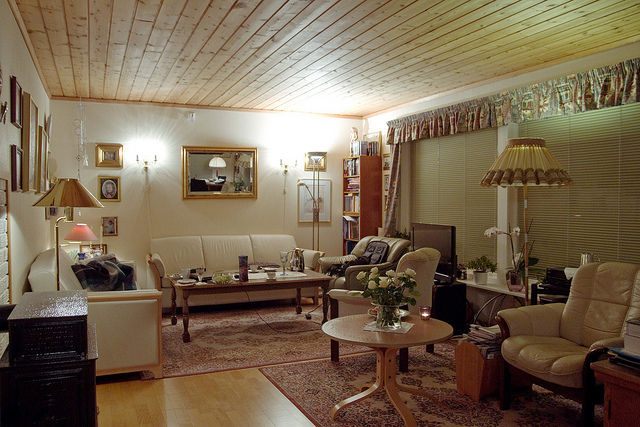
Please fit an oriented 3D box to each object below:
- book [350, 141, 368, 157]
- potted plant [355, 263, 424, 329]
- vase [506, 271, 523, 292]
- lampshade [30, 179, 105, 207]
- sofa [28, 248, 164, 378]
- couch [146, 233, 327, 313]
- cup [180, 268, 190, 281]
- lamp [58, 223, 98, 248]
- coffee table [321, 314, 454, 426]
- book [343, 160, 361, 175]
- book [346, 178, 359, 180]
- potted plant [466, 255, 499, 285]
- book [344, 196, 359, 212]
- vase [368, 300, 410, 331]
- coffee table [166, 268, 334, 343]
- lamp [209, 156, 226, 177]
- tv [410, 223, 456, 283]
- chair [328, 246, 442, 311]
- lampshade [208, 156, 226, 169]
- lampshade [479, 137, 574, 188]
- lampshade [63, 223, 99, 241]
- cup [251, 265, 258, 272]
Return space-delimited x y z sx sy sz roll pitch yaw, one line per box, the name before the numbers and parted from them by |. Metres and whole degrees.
book | 0.727 -1.193 7.917 0.216 0.344 0.387 0 -1 -25
potted plant | 0.675 0.794 3.997 0.623 0.528 0.615 -2 -1 -18
vase | 2.362 0.836 5.221 0.221 0.271 0.214 3 -6 -22
lampshade | -2.389 -0.194 4.069 0.680 0.243 0.661 2 2 6
sofa | -2.342 0.563 4.594 1.125 1.005 2.122 -1 2 -25
couch | -1.469 0.973 7.223 2.843 1.124 0.971 0 1 -27
cup | -1.767 0.807 5.712 0.180 0.166 0.149 1 -2 -26
lamp | -3.587 0.296 6.352 0.410 0.221 0.394 0 3 -13
coffee table | 0.554 1.310 3.805 0.897 0.544 0.902 -2 -3 38
book | 0.582 -0.880 8.095 0.037 0.281 0.535 -3 6 -26
book | 0.606 -0.661 8.116 0.017 0.025 0.444 -2 5 -24
potted plant | 2.242 0.769 5.926 0.374 0.348 0.400 1 5 12
book | 0.604 -0.181 8.139 0.353 0.320 0.257 1 2 24
vase | 0.650 0.912 4.026 0.330 0.243 0.378 1 5 9
coffee table | -1.028 1.207 6.103 2.101 0.757 1.266 -2 5 -20
lamp | -1.831 -0.909 7.665 0.220 0.322 0.212 1 -1 -15
tv | 1.456 0.515 5.490 0.215 0.547 0.804 1 -2 -15
chair | 0.766 0.786 4.700 1.056 1.044 0.876 0 -3 6
lampshade | -1.832 -0.904 7.663 0.218 0.182 0.214 1 -2 -43
lampshade | 2.103 -0.506 4.307 0.733 0.373 0.732 -1 1 27
lampshade | -3.510 0.248 6.387 0.316 0.142 0.303 0 2 -3
cup | -0.975 0.806 6.353 0.083 0.103 0.118 -1 5 -9
